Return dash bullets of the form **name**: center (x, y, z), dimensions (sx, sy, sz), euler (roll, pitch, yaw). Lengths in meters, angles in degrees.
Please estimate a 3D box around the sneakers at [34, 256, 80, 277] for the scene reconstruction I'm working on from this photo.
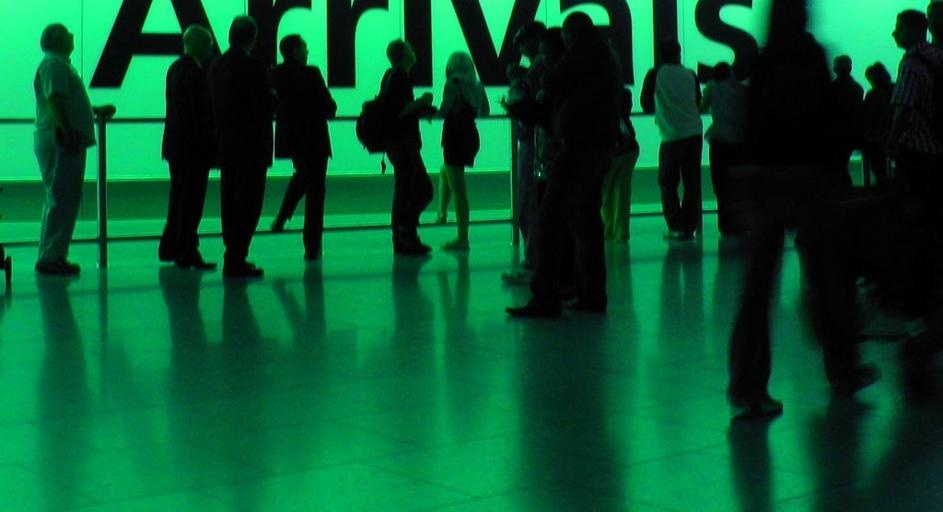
- **sneakers**: center (-3.860, 0.097, 9.290), dimensions (0.409, 0.209, 0.171), euler (0, 8, -13)

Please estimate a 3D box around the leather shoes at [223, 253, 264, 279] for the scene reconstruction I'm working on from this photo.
- **leather shoes**: center (-2.099, 0.093, 9.202), dimensions (0.324, 0.218, 0.200), euler (-5, 9, -23)

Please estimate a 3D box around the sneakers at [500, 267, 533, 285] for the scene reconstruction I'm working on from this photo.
- **sneakers**: center (0.414, 0.191, 8.869), dimensions (0.222, 0.112, 0.144), euler (-2, 8, 31)

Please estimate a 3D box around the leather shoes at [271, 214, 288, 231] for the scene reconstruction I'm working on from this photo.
- **leather shoes**: center (-2.071, -0.331, 10.707), dimensions (0.153, 0.127, 0.362), euler (-26, -7, -18)
